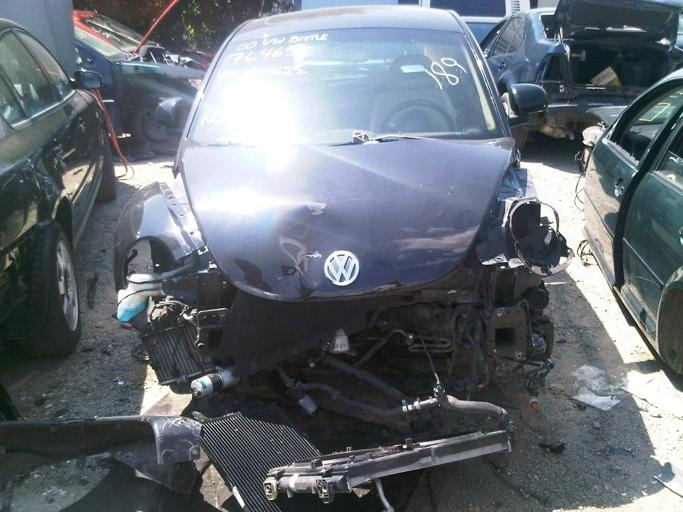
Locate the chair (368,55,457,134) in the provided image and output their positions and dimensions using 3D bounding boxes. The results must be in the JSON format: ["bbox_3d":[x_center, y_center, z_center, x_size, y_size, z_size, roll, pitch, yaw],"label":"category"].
[{"bbox_3d":[0.666,-1.190,3.967,0.898,0.320,0.679,-2,-9,9],"label":"chair"}]
